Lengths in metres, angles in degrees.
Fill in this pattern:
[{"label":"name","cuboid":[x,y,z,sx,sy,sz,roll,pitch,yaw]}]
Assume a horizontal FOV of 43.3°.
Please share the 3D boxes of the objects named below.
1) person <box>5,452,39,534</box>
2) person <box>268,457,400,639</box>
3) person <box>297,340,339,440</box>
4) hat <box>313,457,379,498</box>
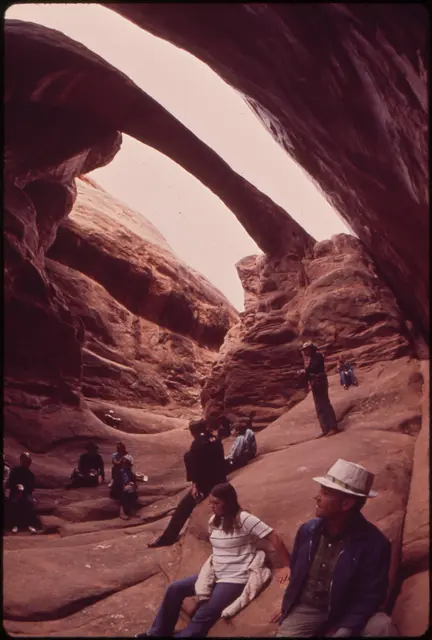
[{"label":"person","cuboid":[-2.323,2.105,6.543,0.370,0.922,0.250,0,-20,-36]},{"label":"person","cuboid":[1.058,2.166,5.016,1.022,1.515,0.393,-12,-16,-4]},{"label":"person","cuboid":[1.384,0.976,7.283,0.479,1.484,0.507,-17,-32,21]},{"label":"hat","cuboid":[1.248,1.460,5.086,0.433,0.185,0.372,19,-12,1]}]
